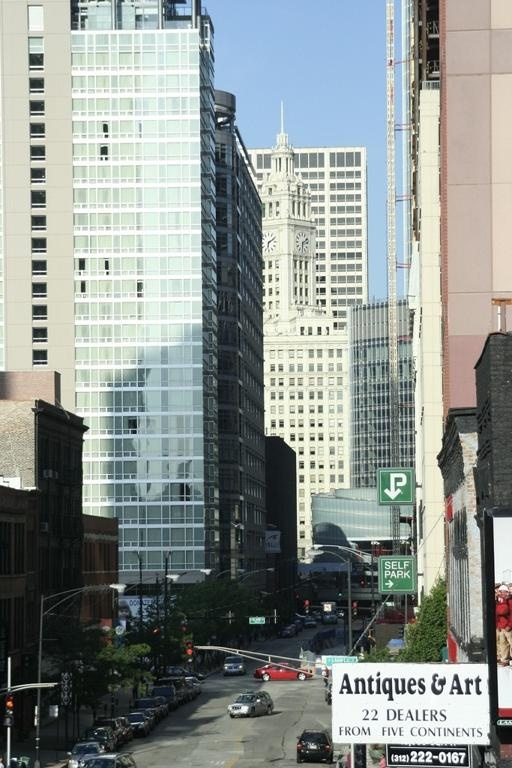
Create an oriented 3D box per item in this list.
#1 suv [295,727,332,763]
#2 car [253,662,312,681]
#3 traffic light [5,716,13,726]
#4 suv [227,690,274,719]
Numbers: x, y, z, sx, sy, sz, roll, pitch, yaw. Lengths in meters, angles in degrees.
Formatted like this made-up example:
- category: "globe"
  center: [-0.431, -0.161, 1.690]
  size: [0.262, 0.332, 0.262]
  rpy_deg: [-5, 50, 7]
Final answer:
- category: "suv"
  center: [2.421, 15.242, 75.387]
  size: [1.086, 1.374, 2.999]
  rpy_deg: [1, -1, 5]
- category: "car"
  center: [1.827, 19.655, 123.485]
  size: [3.352, 1.139, 3.052]
  rpy_deg: [-2, -9, -7]
- category: "traffic light"
  center: [-9.903, 13.651, 73.500]
  size: [0.259, 0.499, 0.299]
  rpy_deg: [1, 4, 7]
- category: "suv"
  center: [-0.327, 16.826, 95.400]
  size: [1.599, 1.298, 2.632]
  rpy_deg: [-8, -10, 29]
